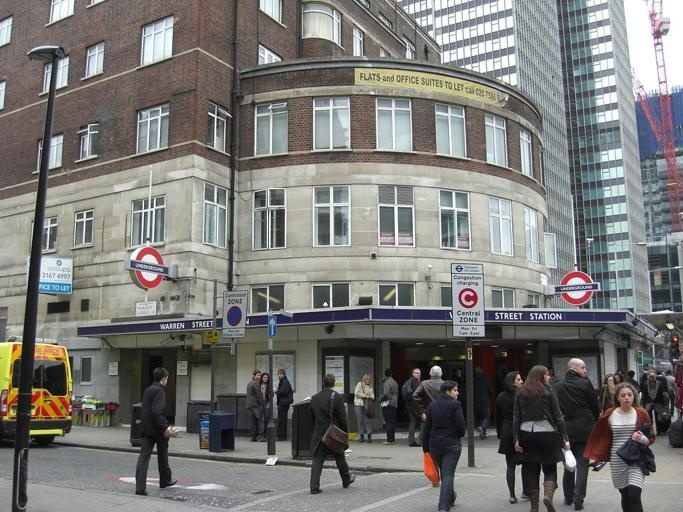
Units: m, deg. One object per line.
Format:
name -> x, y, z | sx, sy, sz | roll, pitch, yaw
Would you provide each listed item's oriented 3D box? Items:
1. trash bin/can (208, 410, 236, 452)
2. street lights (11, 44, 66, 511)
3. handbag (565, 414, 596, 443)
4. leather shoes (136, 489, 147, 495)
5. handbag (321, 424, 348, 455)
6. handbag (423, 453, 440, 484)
trash bin/can -> -3.493, 5.071, 20.740 | 0.545, 1.085, 0.613 | -7, -11, 39
street lights -> -5.635, 0.052, 13.199 | 0.424, 8.858, 0.628 | 7, -14, -32
handbag -> 4.489, 3.273, 13.656 | 0.720, 0.545, 0.418 | -3, -27, 2
leather shoes -> -4.201, 4.926, 15.014 | 0.185, 0.129, 0.112 | 0, -4, -11
handbag -> -0.182, 3.937, 15.408 | 0.473, 0.435, 0.169 | 35, -31, -18
handbag -> 1.709, 3.970, 13.403 | 0.228, 0.614, 0.504 | -8, -14, 29
